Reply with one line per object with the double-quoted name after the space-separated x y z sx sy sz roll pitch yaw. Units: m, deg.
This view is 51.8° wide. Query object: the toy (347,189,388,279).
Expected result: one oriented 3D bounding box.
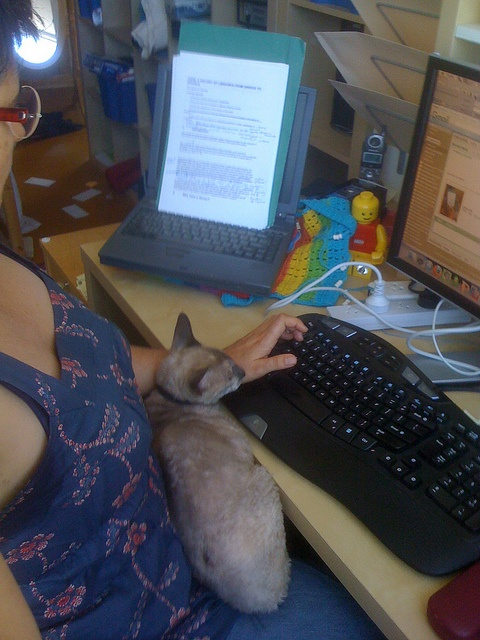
0.258 -0.162 1.032 0.086 0.177 0.092 -18 46 -21 "toy"
